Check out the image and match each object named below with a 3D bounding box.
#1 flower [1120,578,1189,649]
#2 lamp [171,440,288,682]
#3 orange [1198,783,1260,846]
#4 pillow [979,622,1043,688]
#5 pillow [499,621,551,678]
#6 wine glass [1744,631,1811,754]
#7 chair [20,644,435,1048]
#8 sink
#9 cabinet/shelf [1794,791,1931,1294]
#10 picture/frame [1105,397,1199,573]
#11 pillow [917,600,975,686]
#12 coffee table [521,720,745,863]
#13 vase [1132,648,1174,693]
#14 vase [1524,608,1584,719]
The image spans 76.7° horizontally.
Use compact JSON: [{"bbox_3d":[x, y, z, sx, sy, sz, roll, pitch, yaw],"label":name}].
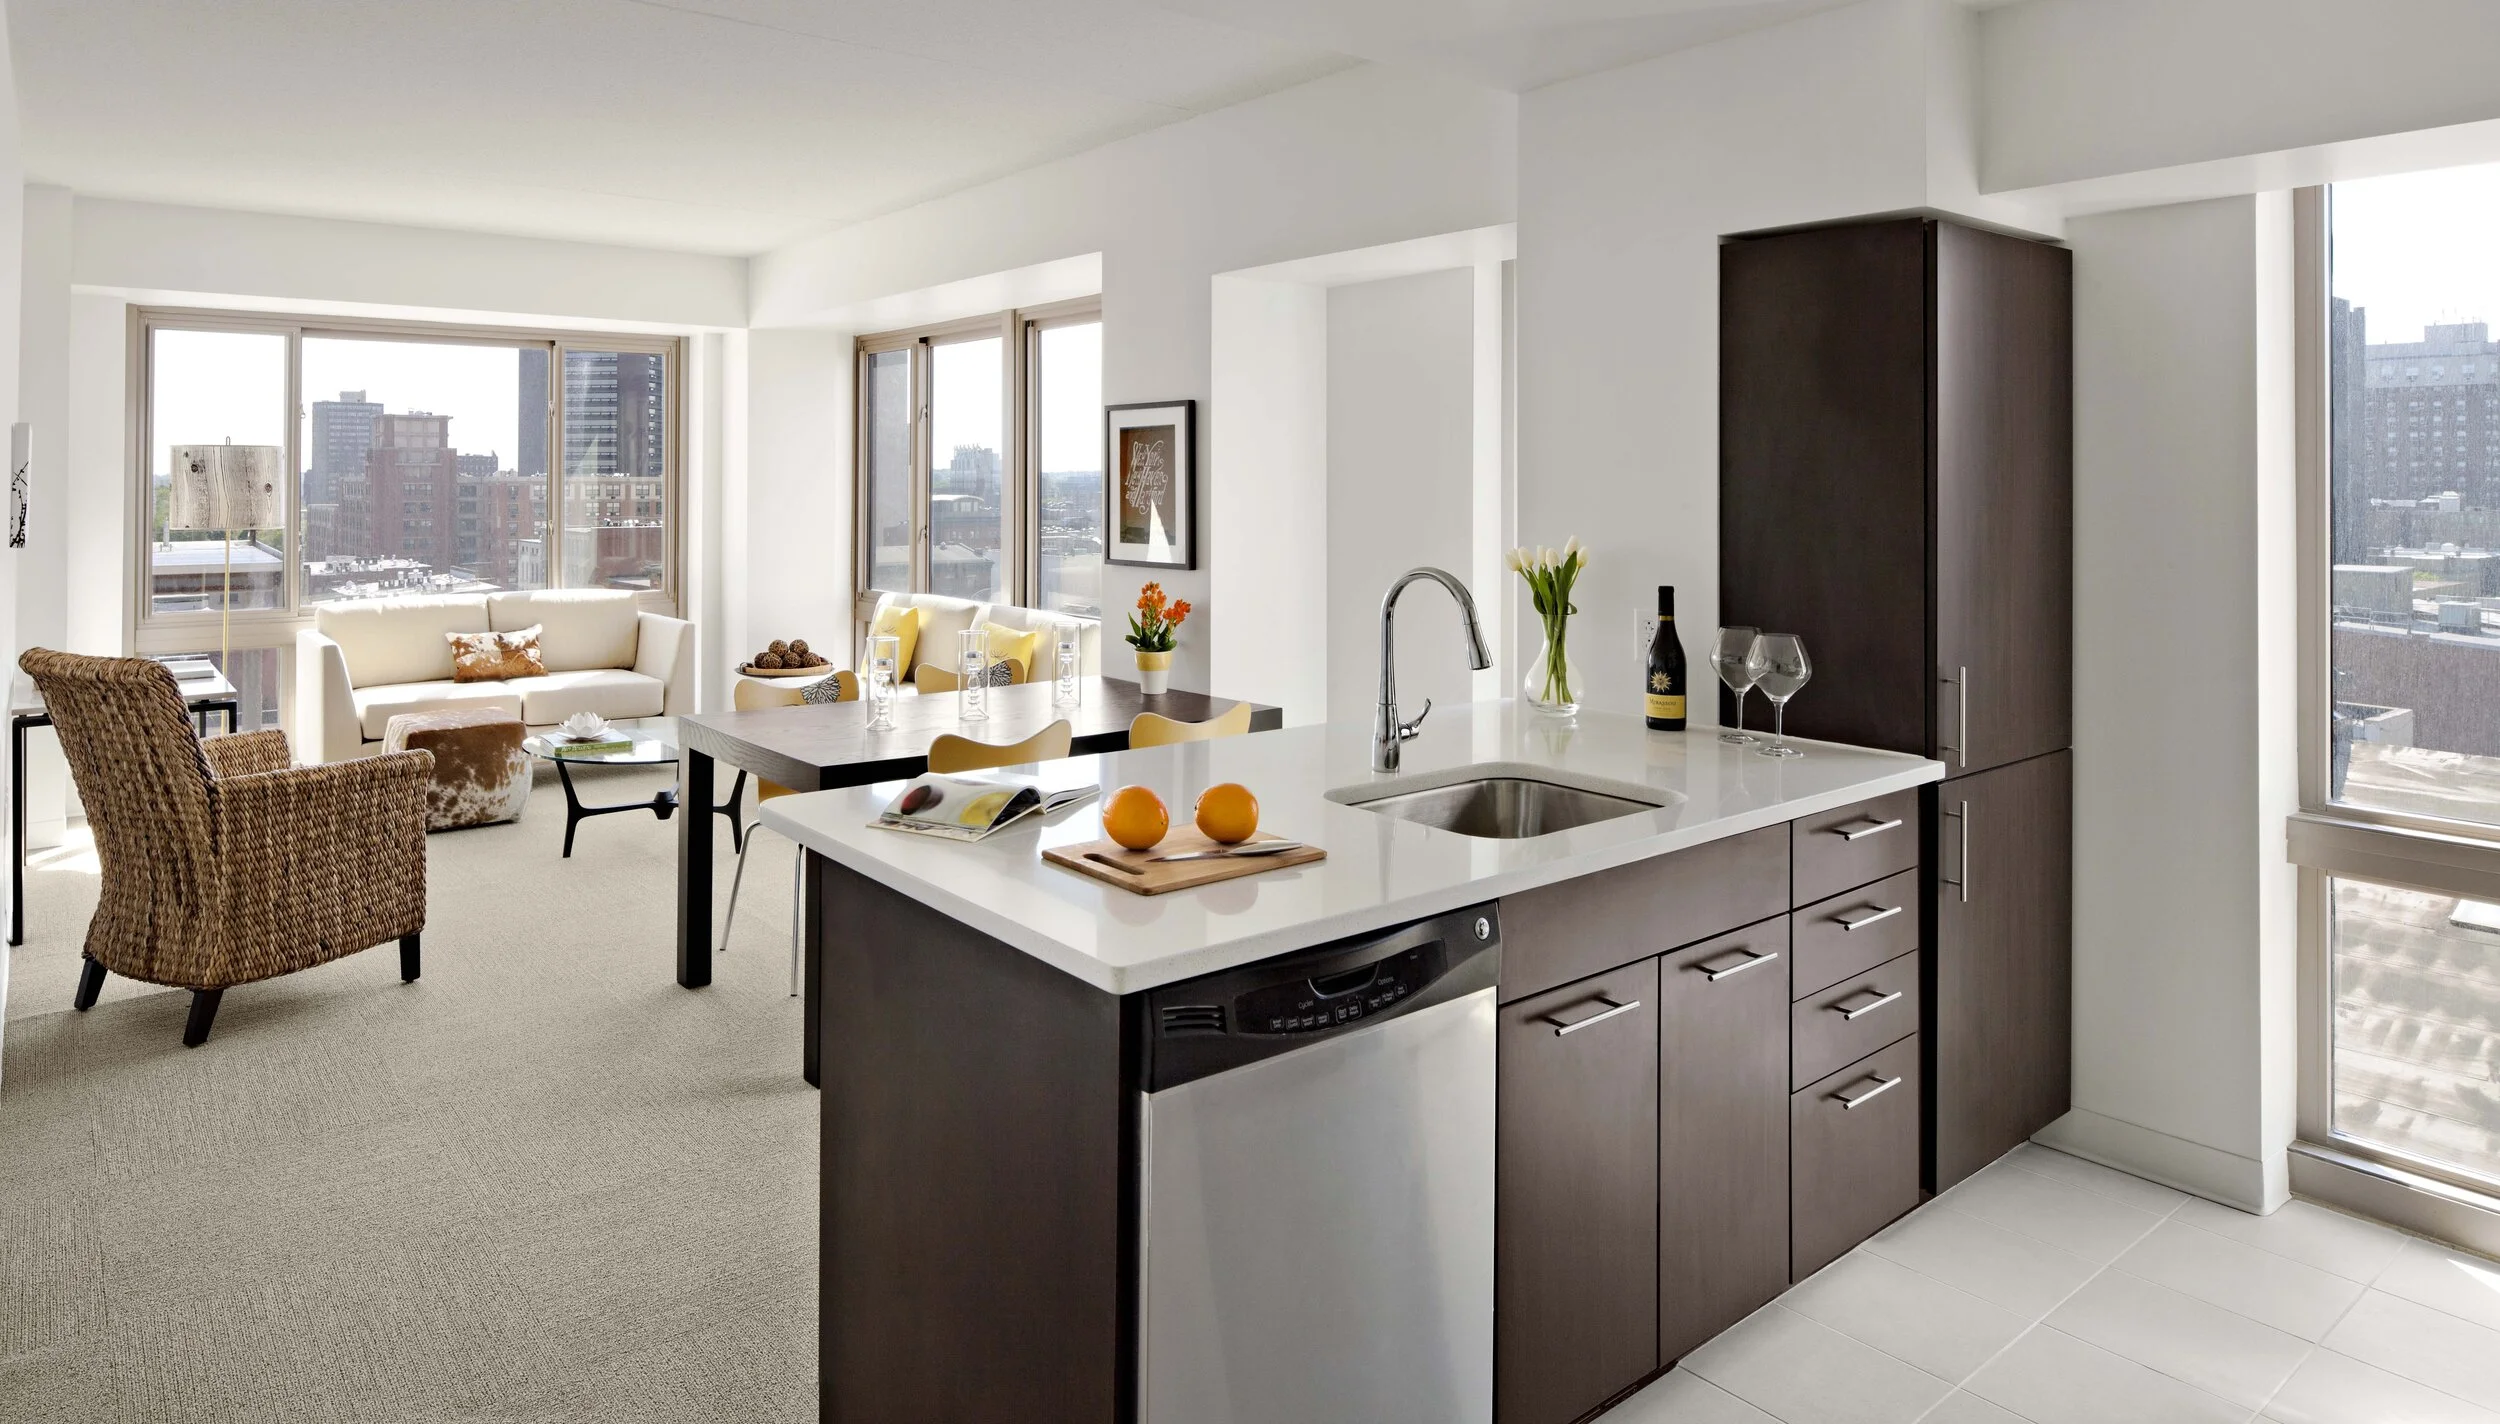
[{"bbox_3d":[-0.403,-0.395,6.883,0.365,0.391,0.345,1,11,0],"label":"flower"},{"bbox_3d":[-5.921,-0.775,9.049,0.583,1.511,0.312,-8,27,-45],"label":"lamp"},{"bbox_3d":[-0.052,0.287,4.321,0.136,0.136,0.175,-34,-12,21],"label":"orange"},{"bbox_3d":[-1.267,-0.283,8.338,0.324,0.367,0.143,-6,-28,14],"label":"pillow"},{"bbox_3d":[-4.536,-0.372,9.806,0.100,0.298,0.324,-17,-7,35],"label":"pillow"},{"bbox_3d":[1.752,-0.076,5.141,0.162,0.378,0.333,2,14,23],"label":"wine glass"},{"bbox_3d":[-4.299,0.339,6.811,1.533,1.962,1.609,5,7,33],"label":"chair"},{"bbox_3d":[0.820,0.287,4.809,0.465,0.274,0.459,-6,8,-42],"label":"sink"},{"bbox_3d":[1.883,0.986,4.885,0.801,1.346,0.229,-14,17,-41],"label":"cabinet/shelf"},{"bbox_3d":[-0.450,-1.092,7.553,0.087,1.097,0.876,-1,2,-40],"label":"picture/frame"},{"bbox_3d":[-1.664,-0.360,8.593,0.196,0.570,0.476,8,-1,-35],"label":"pillow"},{"bbox_3d":[-3.451,0.349,8.451,1.164,0.539,1.131,-2,6,-32],"label":"coffee table"},{"bbox_3d":[-0.413,-0.168,6.770,0.179,0.184,0.177,3,4,13],"label":"vase"},{"bbox_3d":[1.083,-0.202,5.611,0.178,0.377,0.302,0,13,16],"label":"vase"}]
